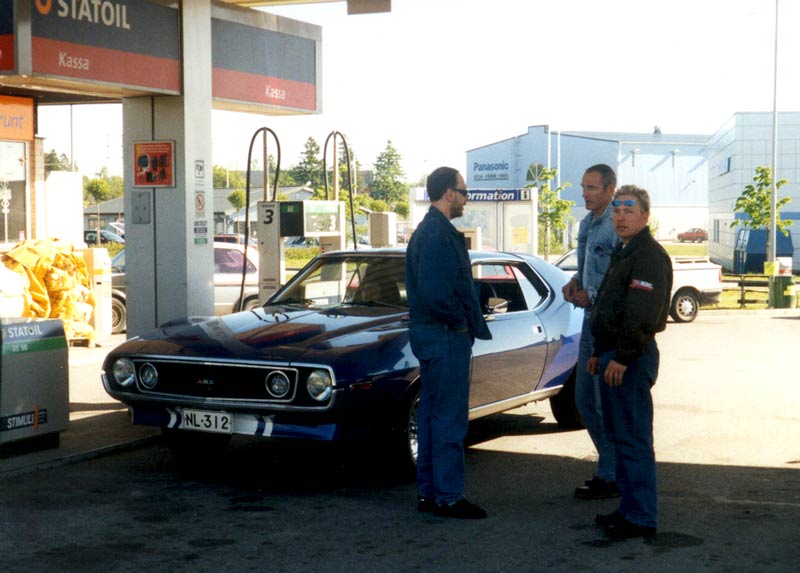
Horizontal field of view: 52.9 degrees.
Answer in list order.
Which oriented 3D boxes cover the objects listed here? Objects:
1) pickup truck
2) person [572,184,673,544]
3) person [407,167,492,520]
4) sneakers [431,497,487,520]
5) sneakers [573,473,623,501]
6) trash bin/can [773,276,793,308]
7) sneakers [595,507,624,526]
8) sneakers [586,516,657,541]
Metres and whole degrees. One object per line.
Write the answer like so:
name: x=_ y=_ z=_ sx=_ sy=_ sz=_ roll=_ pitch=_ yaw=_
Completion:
pickup truck: x=5.913 y=0.007 z=20.074 sx=4.515 sy=2.125 sz=2.459 roll=1 pitch=1 yaw=-2
person: x=1.730 y=0.535 z=6.048 sx=0.561 sy=2.579 sz=0.601 roll=0 pitch=4 yaw=-3
person: x=0.383 y=0.435 z=6.444 sx=0.666 sy=2.767 sz=0.519 roll=0 pitch=4 yaw=-1
sneakers: x=0.468 y=1.758 z=6.372 sx=0.414 sy=0.181 sz=0.160 roll=0 pitch=1 yaw=-2
sneakers: x=1.677 y=1.687 z=6.725 sx=0.352 sy=0.167 sz=0.162 roll=1 pitch=0 yaw=8
trash bin/can: x=11.177 y=0.185 z=23.320 sx=0.668 sy=0.915 sz=0.456 roll=0 pitch=4 yaw=-5
sneakers: x=1.569 y=1.759 z=6.054 sx=0.235 sy=0.106 sz=0.079 roll=-19 pitch=10 yaw=-26
sneakers: x=1.647 y=1.784 z=5.925 sx=0.377 sy=0.177 sz=0.157 roll=4 pitch=9 yaw=23
